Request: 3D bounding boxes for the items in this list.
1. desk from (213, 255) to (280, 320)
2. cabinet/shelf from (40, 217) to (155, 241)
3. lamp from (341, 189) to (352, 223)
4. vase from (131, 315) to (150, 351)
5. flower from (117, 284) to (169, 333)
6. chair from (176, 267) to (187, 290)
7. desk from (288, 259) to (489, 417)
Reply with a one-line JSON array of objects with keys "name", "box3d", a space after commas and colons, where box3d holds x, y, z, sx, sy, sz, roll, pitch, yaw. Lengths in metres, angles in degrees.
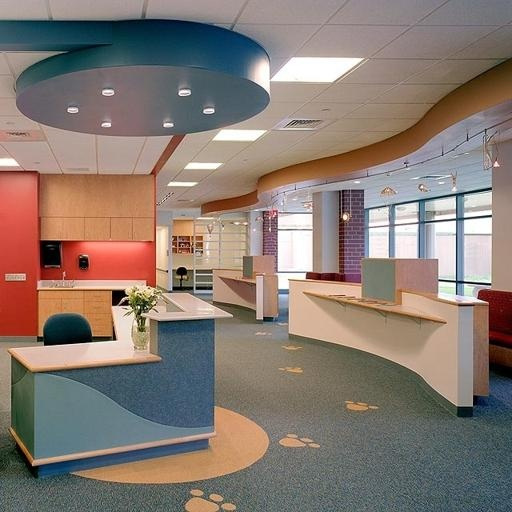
[{"name": "desk", "box3d": [-0.269, 0.784, 11.367, 1.047, 1.539, 3.485, 2, 1, -27]}, {"name": "cabinet/shelf", "box3d": [-3.098, -0.529, 8.002, 2.140, 0.445, 0.123, 1, 0, -9]}, {"name": "lamp", "box3d": [2.127, -1.181, 9.780, 0.326, 0.783, 0.300, 0, 0, 33]}, {"name": "vase", "box3d": [-0.959, 0.638, 3.378, 0.131, 0.229, 0.218, 1, -1, -15]}, {"name": "flower", "box3d": [-0.966, 0.441, 3.476, 0.290, 0.322, 0.495, 1, -1, -15]}, {"name": "chair", "box3d": [-3.173, 0.977, 17.278, 0.446, 0.784, 1.123, 1, -1, -10]}, {"name": "desk", "box3d": [1.678, 0.806, 5.678, 0.855, 1.533, 3.519, 1, -1, -23]}]
